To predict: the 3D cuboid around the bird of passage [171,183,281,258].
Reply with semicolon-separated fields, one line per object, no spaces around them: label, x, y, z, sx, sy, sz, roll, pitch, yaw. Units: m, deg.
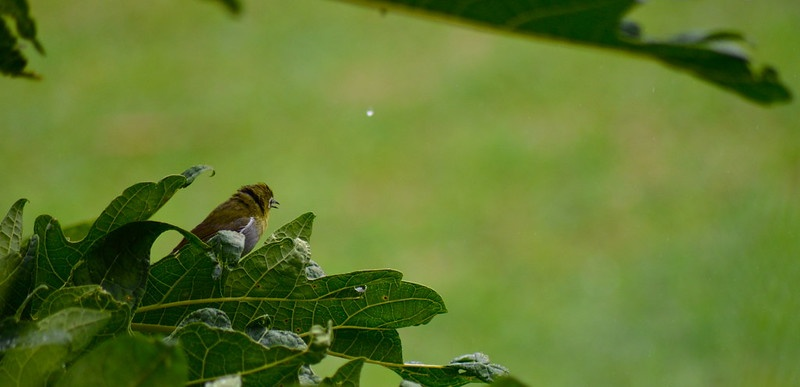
bird of passage;-0.855;0.157;4.270;0.667;0.219;0.347;-3;-93;6
